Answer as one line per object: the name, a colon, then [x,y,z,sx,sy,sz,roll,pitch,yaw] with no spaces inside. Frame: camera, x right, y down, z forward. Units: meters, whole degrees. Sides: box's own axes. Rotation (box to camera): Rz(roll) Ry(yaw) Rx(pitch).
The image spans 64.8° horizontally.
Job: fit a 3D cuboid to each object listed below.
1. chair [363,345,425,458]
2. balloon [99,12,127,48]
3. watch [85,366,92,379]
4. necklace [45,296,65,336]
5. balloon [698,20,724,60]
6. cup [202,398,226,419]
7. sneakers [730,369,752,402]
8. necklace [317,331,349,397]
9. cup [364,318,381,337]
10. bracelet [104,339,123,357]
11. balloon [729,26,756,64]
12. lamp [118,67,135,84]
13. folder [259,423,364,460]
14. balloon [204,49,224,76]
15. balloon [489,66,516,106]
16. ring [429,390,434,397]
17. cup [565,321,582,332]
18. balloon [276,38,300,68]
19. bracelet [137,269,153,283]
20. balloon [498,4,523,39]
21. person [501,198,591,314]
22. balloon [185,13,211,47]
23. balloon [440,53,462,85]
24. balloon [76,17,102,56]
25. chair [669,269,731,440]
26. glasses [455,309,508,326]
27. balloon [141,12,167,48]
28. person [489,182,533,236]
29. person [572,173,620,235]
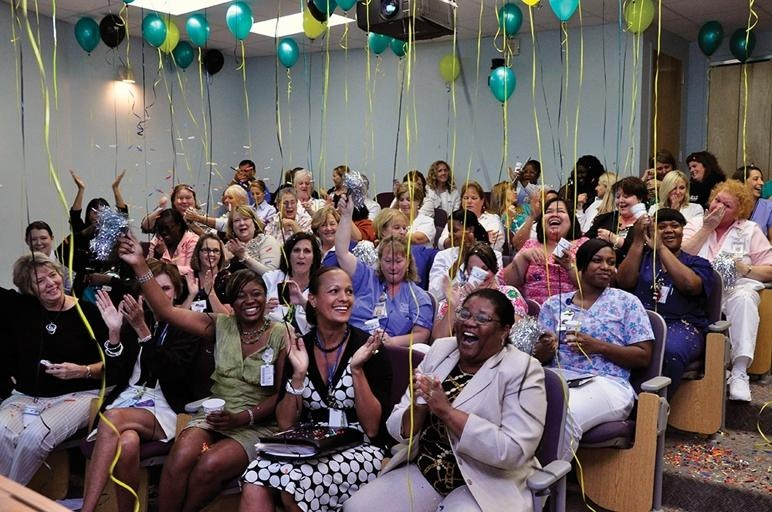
chair: [0.096,0.825,3.712,0.422,0.645,0.497,-7,-14,35]
balloon: [-3.512,-2.921,7.929,0.334,0.475,0.374,-2,4,-25]
watch: [-1.992,0.796,4.133,0.041,0.075,0.062,4,2,-12]
necklace: [-2.266,0.424,4.211,0.163,0.268,0.079,-3,-1,-7]
balloon: [4.363,-2.940,8.240,0.313,0.486,0.420,4,17,20]
cup: [-0.987,0.894,3.558,0.099,0.115,0.116,-12,11,-43]
sneakers: [2.668,0.999,4.612,0.156,0.185,0.232,1,10,32]
necklace: [-0.310,0.628,3.520,0.160,0.304,0.065,-12,-16,25]
cup: [-0.078,0.473,3.990,0.096,0.078,0.099,-21,2,1]
bracelet: [-1.769,0.614,4.005,0.094,0.106,0.041,-19,5,-7]
balloon: [4.757,-2.830,8.137,0.302,0.447,0.251,-15,23,9]
lamp: [-4.024,-2.848,9.562,0.225,0.240,0.365,-7,9,-17]
folder: [-0.420,1.044,3.407,0.272,0.082,0.280,-2,0,39]
balloon: [-2.958,-3.386,10.581,0.330,0.442,0.420,-7,9,-21]
balloon: [1.501,-2.244,7.879,0.289,0.507,0.707,-2,9,16]
ring: [0.244,0.722,3.181,0.024,0.025,0.007,5,0,-12]
cup: [1.236,0.471,4.035,0.060,0.076,0.082,1,-4,-18]
balloon: [-1.304,-2.803,8.306,0.228,0.396,0.331,-6,9,-13]
bracelet: [-1.417,0.124,3.652,0.067,0.082,0.073,-6,-2,26]
balloon: [1.530,-2.948,7.512,0.269,0.478,0.731,-2,8,11]
person: [1.304,0.015,4.935,0.634,0.806,1.438,-4,29,23]
balloon: [-2.398,-2.920,7.866,0.217,0.438,0.218,0,9,24]
balloon: [0.993,-2.932,9.361,0.337,0.467,0.793,-3,8,7]
balloon: [-3.812,-2.882,7.892,0.245,0.480,0.313,8,16,28]
chair: [2.304,0.738,4.443,0.477,1.171,0.255,-9,10,-30]
glasses: [0.506,0.349,3.327,0.127,0.044,0.136,2,-17,41]
balloon: [-2.804,-2.796,7.470,0.264,0.417,0.255,-8,9,-22]
person: [1.489,-0.534,7.284,0.335,0.311,0.921,20,-22,25]
person: [2.163,-0.520,6.281,0.300,0.293,0.889,25,52,20]
